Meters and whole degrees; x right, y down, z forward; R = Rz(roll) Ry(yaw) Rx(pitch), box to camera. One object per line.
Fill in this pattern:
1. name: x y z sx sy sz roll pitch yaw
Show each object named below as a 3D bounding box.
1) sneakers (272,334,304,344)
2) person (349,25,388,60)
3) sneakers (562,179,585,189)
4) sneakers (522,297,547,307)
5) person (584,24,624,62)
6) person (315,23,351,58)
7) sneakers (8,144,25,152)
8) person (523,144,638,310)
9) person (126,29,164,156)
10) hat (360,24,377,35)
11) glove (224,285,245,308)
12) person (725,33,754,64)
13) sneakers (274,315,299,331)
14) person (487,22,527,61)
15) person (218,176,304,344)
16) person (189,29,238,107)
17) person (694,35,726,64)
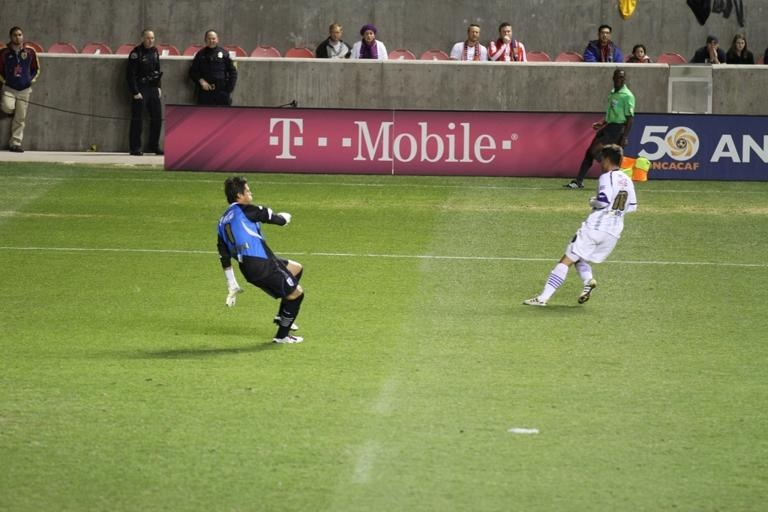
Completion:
1. sneakers: -0.952 0.841 10.660 0.282 0.105 0.107 -3 8 -11
2. person: -0.456 -5.462 27.132 0.923 0.871 1.172 -5 16 -19
3. sneakers: 3.886 -1.488 22.140 0.502 0.216 0.182 9 28 16
4. sneakers: 1.698 0.525 12.011 0.298 0.119 0.098 1 15 2
5. person: 5.572 -5.304 27.104 1.195 1.059 0.670 2 6 -12
6. person: -1.310 -5.502 27.218 0.847 0.830 0.795 -1 15 -5
7. sneakers: -9.083 -2.665 26.340 0.172 0.155 0.420 -4 4 -42
8. person: 2.294 -0.312 12.006 0.656 1.822 1.136 12 19 38
9. person: -5.881 -3.994 26.130 0.832 3.071 1.000 -3 15 -13
10. hat: -0.398 -5.728 26.854 0.609 0.263 0.697 -1 6 2
11. glove: -1.533 0.404 10.653 0.194 0.230 0.528 1 2 2
12. person: 8.987 -5.229 26.926 0.652 0.689 1.056 5 16 17
13. sneakers: -0.982 0.677 10.596 0.295 0.094 0.192 5 -1 -15
14. person: 3.093 -5.397 26.830 0.922 0.935 0.848 -5 16 -19
15. person: -1.222 0.060 10.525 0.799 1.635 0.788 -1 15 -7
16. person: -4.100 -4.508 25.505 1.072 1.702 0.641 -2 15 -9
17. person: 8.220 -5.222 26.903 0.772 0.658 0.984 5 15 15
